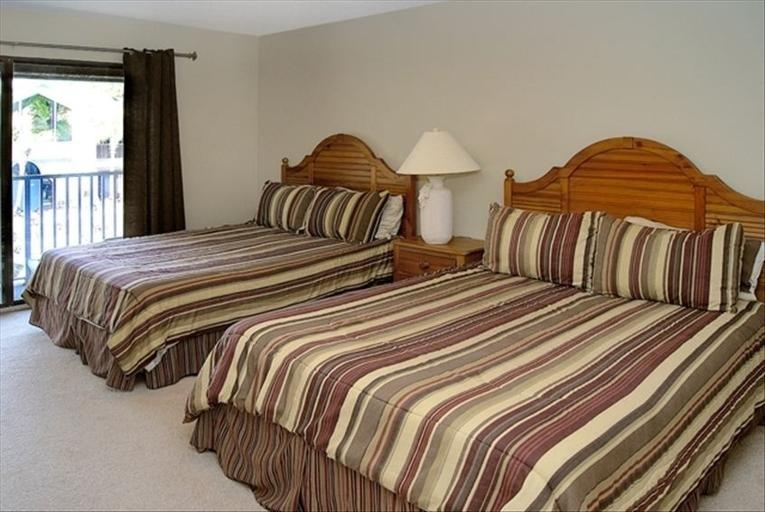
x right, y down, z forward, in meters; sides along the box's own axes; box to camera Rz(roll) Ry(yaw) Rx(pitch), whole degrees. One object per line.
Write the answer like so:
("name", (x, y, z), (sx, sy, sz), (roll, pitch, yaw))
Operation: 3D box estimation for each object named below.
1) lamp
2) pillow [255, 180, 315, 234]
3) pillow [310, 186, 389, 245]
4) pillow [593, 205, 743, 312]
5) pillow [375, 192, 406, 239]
("lamp", (0.521, -0.520, 4.837), (0.871, 1.106, 0.901), (-1, 2, -28))
("pillow", (-0.916, -0.462, 5.260), (0.533, 0.509, 0.162), (8, -13, 41))
("pillow", (-0.268, -0.345, 4.923), (0.687, 0.486, 0.191), (7, -18, 39))
("pillow", (1.747, 0.030, 3.431), (0.819, 0.511, 0.256), (7, 12, 24))
("pillow", (0.069, -0.341, 4.852), (0.317, 0.344, 0.114), (2, -11, 31))
